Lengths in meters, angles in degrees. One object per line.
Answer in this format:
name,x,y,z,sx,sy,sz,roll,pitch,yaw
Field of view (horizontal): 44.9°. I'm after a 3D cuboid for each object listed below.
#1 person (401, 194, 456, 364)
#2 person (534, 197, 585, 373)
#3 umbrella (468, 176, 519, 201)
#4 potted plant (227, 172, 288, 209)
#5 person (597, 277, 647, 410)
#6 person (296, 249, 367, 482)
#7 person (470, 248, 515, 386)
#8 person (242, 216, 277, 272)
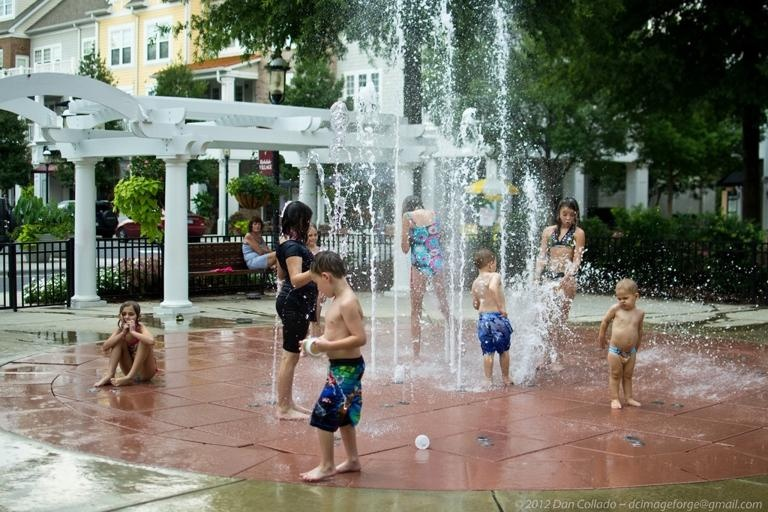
person,0.615,0.339,14.687,0.776,2.467,0.682,-6,13,-30
person,2.659,0.417,14.203,0.692,2.567,0.672,2,12,11
umbrella,3.194,-1.918,27.749,1.404,0.705,1.734,1,12,4
potted plant,-3.919,-1.922,27.875,1.375,1.056,1.422,4,-5,-2
person,3.231,1.174,12.686,0.593,1.692,0.741,3,12,14
person,-0.580,1.269,10.801,0.691,2.587,0.798,4,12,16
person,1.569,0.896,13.524,0.594,1.902,0.734,1,12,5
person,-2.732,-0.240,20.042,0.618,1.346,1.553,-2,12,-11
